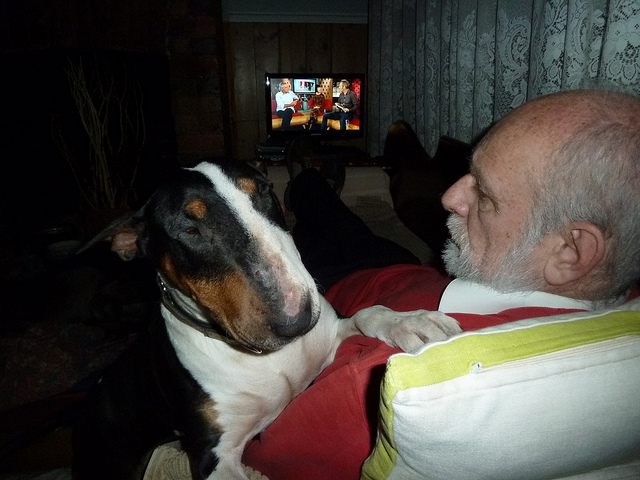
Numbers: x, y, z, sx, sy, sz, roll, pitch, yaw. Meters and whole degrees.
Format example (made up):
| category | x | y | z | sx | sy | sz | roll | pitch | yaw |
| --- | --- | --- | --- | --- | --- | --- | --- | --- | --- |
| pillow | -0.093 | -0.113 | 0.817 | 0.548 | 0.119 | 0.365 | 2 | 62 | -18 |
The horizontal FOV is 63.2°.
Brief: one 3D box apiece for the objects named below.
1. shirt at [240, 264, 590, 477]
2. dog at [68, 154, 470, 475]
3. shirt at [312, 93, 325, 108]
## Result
| category | x | y | z | sx | sy | sz | roll | pitch | yaw |
| --- | --- | --- | --- | --- | --- | --- | --- | --- | --- |
| shirt | 0.130 | 0.500 | 2.045 | 0.836 | 0.299 | 0.854 | -36 | 4 | 10 |
| dog | -0.538 | 0.243 | 2.289 | 0.834 | 0.785 | 1.732 | -39 | 14 | -28 |
| shirt | -0.006 | -1.297 | 4.824 | 0.129 | 0.145 | 0.082 | -1 | 21 | -1 |
